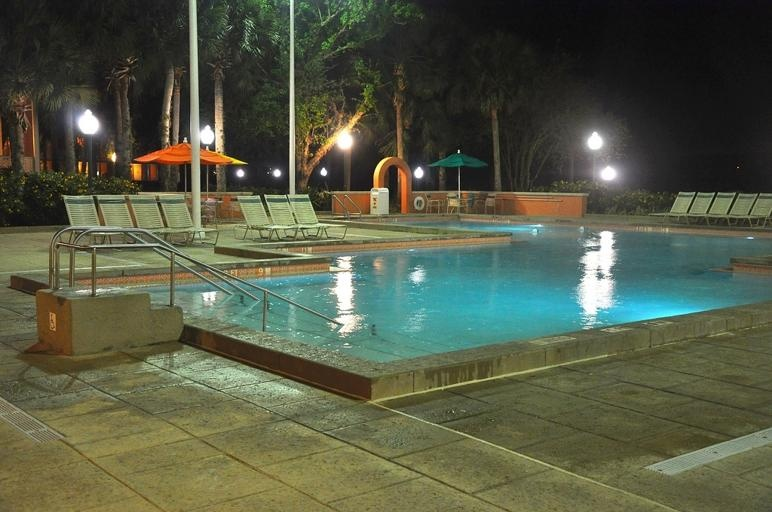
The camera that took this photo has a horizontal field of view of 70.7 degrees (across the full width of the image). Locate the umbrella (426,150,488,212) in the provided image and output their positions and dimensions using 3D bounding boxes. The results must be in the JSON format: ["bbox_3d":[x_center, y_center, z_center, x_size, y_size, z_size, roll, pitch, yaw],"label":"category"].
[{"bbox_3d":[4.736,-5.030,34.432,3.670,2.815,3.285,7,19,27],"label":"umbrella"}]

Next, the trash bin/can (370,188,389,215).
[{"bbox_3d":[-0.275,-2.758,27.419,0.831,1.334,0.630,2,10,-8],"label":"trash bin/can"}]
